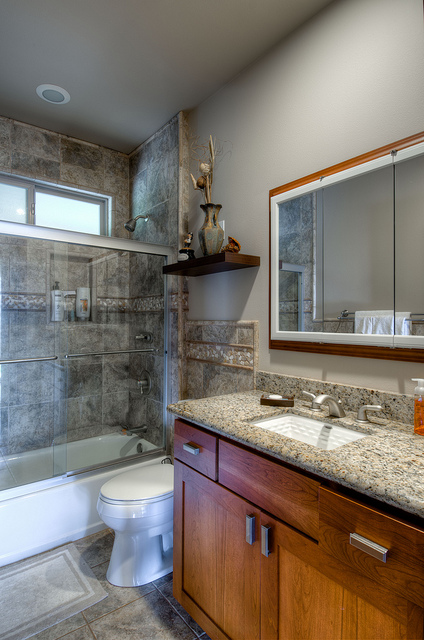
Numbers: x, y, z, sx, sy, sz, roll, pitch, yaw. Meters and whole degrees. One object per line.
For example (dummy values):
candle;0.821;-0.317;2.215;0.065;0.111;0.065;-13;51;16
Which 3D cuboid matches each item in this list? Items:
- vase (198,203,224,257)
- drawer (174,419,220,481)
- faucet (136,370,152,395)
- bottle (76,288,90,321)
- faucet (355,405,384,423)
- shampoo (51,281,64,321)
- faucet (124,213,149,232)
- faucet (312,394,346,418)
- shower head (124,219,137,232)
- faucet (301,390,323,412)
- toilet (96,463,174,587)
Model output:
vase;-0.009;-0.424;2.130;0.111;0.250;0.142;1;4;11
drawer;-0.047;0.458;1.587;0.141;0.096;0.145;14;-8;-34
faucet;-0.429;0.393;2.850;0.111;0.158;0.034;3;4;35
bottle;-0.717;-0.087;2.525;0.024;0.183;0.103;2;4;22
faucet;0.504;0.299;1.461;0.046;0.060;0.088;1;-4;-38
shampoo;-0.809;-0.098;2.368;0.024;0.203;0.089;2;4;24
faucet;-0.510;-0.648;2.992;0.083;0.144;0.223;21;22;29
faucet;0.393;0.285;1.516;0.097;0.084;0.142;2;4;21
shower head;-0.537;-0.620;2.983;0.059;0.077;0.187;0;4;-8
faucet;0.351;0.281;1.620;0.053;0.082;0.100;-1;4;-24
toilet;-0.321;0.926;2.040;0.311;0.394;0.417;2;1;36
